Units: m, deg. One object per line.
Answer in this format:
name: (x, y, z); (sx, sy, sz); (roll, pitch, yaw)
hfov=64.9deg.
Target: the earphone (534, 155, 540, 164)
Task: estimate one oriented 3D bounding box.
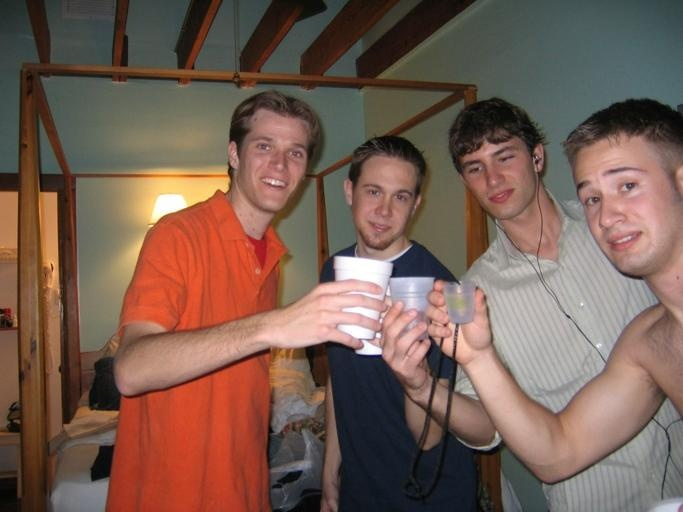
earphone: (1.124, -0.561, 3.086); (0.040, 0.054, 0.117); (1, 6, 22)
